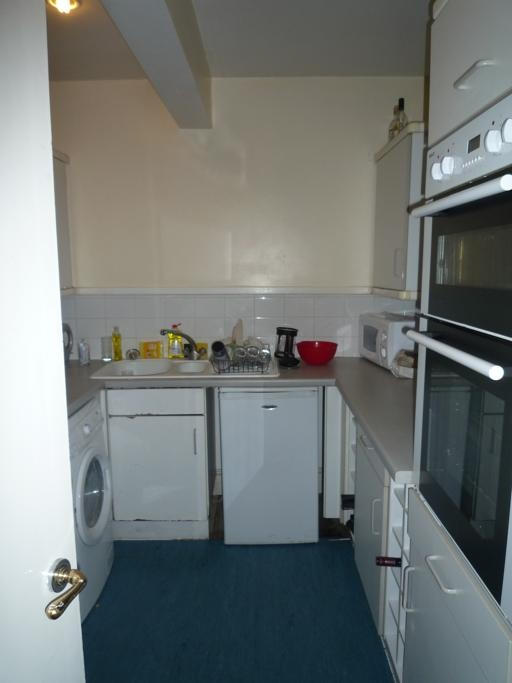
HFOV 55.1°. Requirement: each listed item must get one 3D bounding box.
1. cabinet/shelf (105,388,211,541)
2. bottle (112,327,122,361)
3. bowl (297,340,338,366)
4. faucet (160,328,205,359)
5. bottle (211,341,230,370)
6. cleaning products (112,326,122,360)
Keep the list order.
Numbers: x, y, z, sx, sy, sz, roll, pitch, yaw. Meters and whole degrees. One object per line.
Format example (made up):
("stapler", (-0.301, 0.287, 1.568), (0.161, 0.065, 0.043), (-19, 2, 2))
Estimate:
("cabinet/shelf", (-0.470, 0.637, 2.803), (0.495, 1.144, 0.710), (0, 3, 0))
("bottle", (-0.868, 0.010, 3.061), (0.061, 0.190, 0.088), (-4, 8, -21))
("bowl", (0.365, 0.036, 2.891), (0.151, 0.105, 0.155), (1, 5, 0))
("faucet", (-0.436, 0.014, 3.012), (0.273, 0.199, 0.218), (-2, 9, -10))
("bottle", (-0.189, 0.075, 2.611), (0.103, 0.160, 0.089), (-5, 9, -30))
("cleaning products", (-0.868, 0.010, 3.061), (0.061, 0.190, 0.088), (-4, 8, -21))
